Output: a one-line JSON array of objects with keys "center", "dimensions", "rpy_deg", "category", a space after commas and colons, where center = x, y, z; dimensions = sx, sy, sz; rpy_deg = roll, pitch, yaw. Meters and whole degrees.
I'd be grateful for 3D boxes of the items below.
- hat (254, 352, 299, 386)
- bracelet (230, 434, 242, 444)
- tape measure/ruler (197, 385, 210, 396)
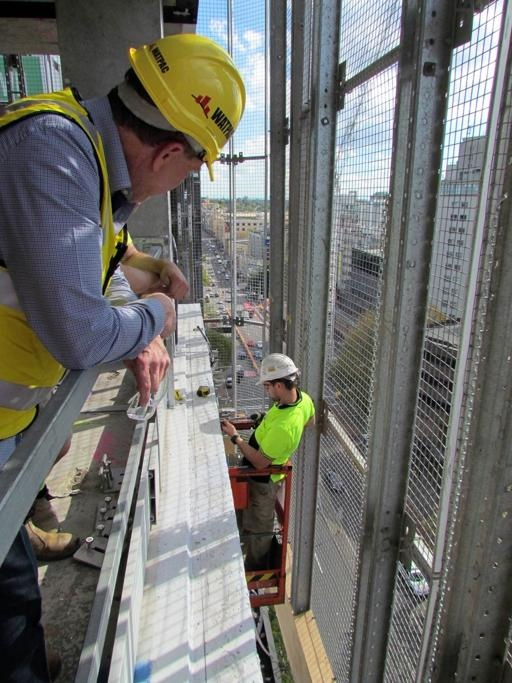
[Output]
[{"center": [0.176, 0.240, 3.990], "dimensions": [0.306, 0.222, 0.239], "rpy_deg": [3, 19, 28], "category": "hat"}, {"center": [-0.194, 0.960, 4.202], "dimensions": [0.081, 0.071, 0.120], "rpy_deg": [5, -9, -6], "category": "bracelet"}, {"center": [-0.529, 0.491, 4.254], "dimensions": [0.088, 0.116, 0.078], "rpy_deg": [1, 15, -25], "category": "tape measure/ruler"}]
